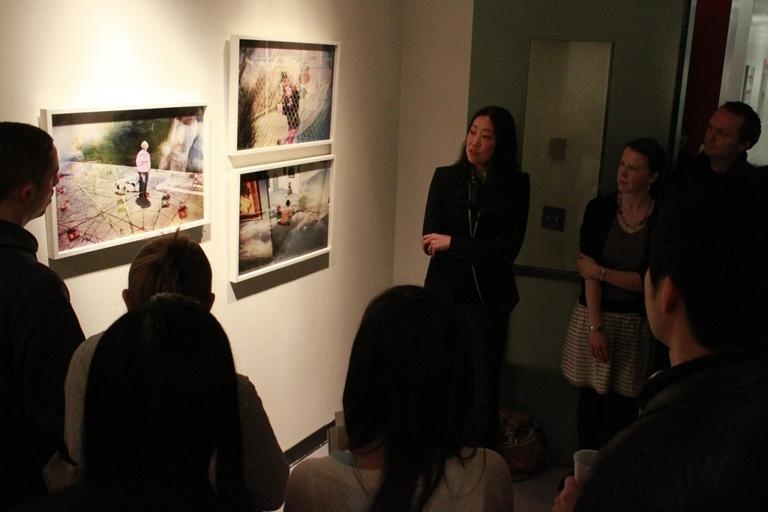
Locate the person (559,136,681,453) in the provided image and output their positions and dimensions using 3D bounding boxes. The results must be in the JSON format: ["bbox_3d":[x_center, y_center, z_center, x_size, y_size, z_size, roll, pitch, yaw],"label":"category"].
[{"bbox_3d":[1.570,0.407,3.761,0.672,2.308,0.645,0,16,5],"label":"person"}]

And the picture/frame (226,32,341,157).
[{"bbox_3d":[-0.623,-1.018,3.540,0.023,0.714,0.975,16,24,26],"label":"picture/frame"}]

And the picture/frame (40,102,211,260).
[{"bbox_3d":[-1.313,-0.376,2.750,0.027,0.577,0.753,17,22,40],"label":"picture/frame"}]
